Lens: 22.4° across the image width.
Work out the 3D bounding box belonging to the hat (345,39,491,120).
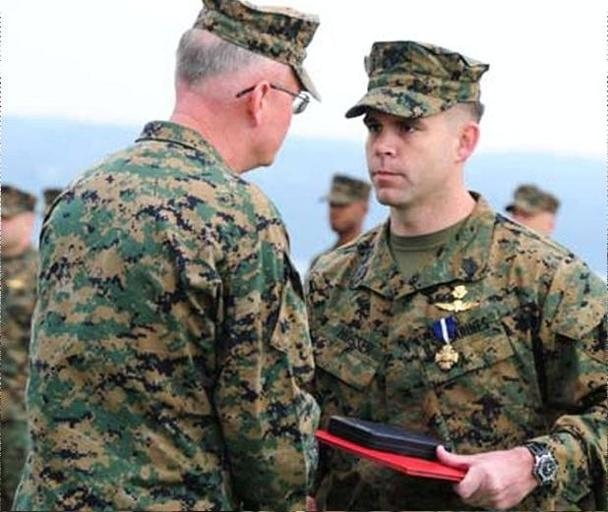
[{"bbox_3d":[0.554,-0.897,7.578,0.670,0.372,0.822,7,11,42],"label":"hat"}]
